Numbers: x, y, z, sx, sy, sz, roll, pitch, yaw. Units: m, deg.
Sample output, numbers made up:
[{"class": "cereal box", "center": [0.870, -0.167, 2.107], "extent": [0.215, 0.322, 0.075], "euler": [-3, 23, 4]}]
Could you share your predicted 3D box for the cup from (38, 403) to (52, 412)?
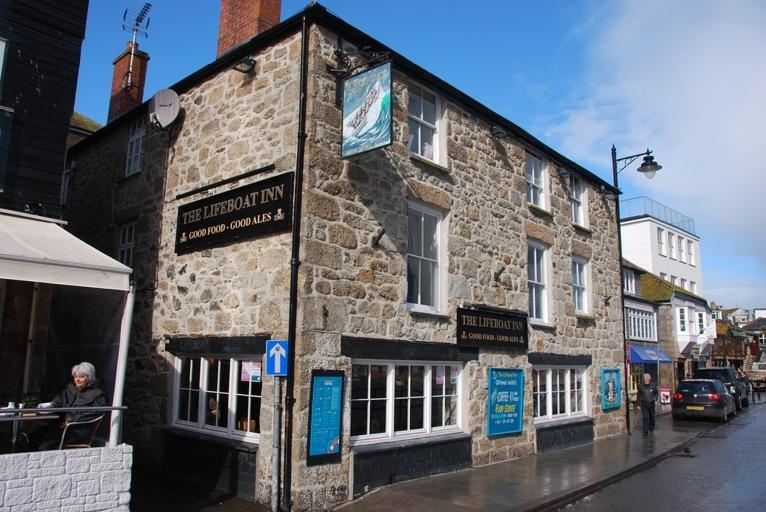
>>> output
[{"class": "cup", "center": [-6.343, 2.840, 10.652], "extent": [0.206, 0.105, 0.291], "euler": [2, -4, 42]}]

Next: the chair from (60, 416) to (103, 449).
[{"class": "chair", "center": [-5.781, 3.380, 10.879], "extent": [0.674, 0.774, 0.565], "euler": [11, -21, -26]}]

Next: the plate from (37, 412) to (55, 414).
[{"class": "plate", "center": [-6.340, 2.956, 10.663], "extent": [0.275, 0.070, 0.783], "euler": [8, -17, -29]}]

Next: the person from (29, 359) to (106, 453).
[{"class": "person", "center": [-6.225, 3.229, 11.144], "extent": [1.052, 2.155, 1.204], "euler": [3, -7, 39]}]

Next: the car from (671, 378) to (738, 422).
[{"class": "car", "center": [14.828, 6.587, 26.040], "extent": [3.412, 1.891, 1.496], "euler": [5, -15, -21]}]

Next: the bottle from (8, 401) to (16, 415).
[{"class": "bottle", "center": [-6.891, 2.799, 10.514], "extent": [0.093, 0.182, 1.189], "euler": [8, -17, -31]}]
